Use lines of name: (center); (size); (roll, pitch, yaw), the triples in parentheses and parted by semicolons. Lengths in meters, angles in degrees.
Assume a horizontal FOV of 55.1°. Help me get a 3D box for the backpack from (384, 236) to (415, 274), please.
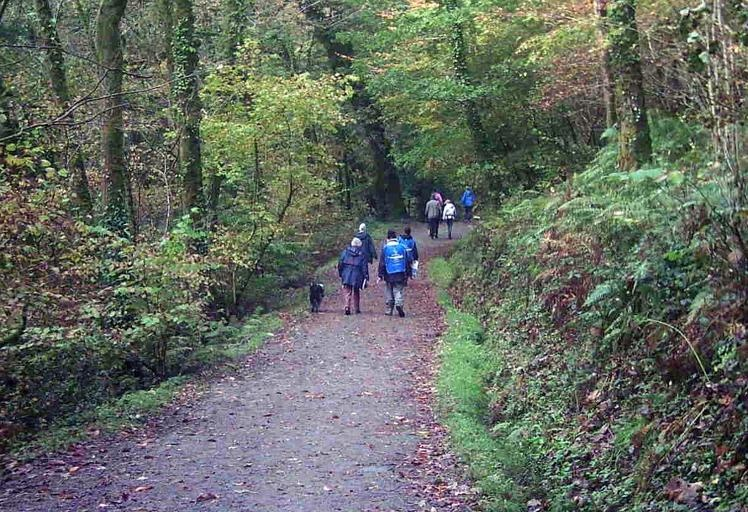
backpack: (0.673, -0.025, 18.891); (0.866, 1.173, 0.413); (-6, -4, 7)

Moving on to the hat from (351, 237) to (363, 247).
hat: (-0.441, -0.366, 18.769); (0.201, 0.263, 0.249); (-1, 5, 0)

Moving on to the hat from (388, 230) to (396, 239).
hat: (0.486, -0.564, 18.753); (0.170, 0.215, 0.218); (0, -12, -6)

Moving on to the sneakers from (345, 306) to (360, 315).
sneakers: (-0.552, 1.465, 19.331); (0.176, 0.228, 0.532); (3, 10, 19)

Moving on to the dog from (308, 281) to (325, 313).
dog: (-1.587, 1.150, 19.841); (0.402, 0.761, 0.598); (-6, 8, -6)
